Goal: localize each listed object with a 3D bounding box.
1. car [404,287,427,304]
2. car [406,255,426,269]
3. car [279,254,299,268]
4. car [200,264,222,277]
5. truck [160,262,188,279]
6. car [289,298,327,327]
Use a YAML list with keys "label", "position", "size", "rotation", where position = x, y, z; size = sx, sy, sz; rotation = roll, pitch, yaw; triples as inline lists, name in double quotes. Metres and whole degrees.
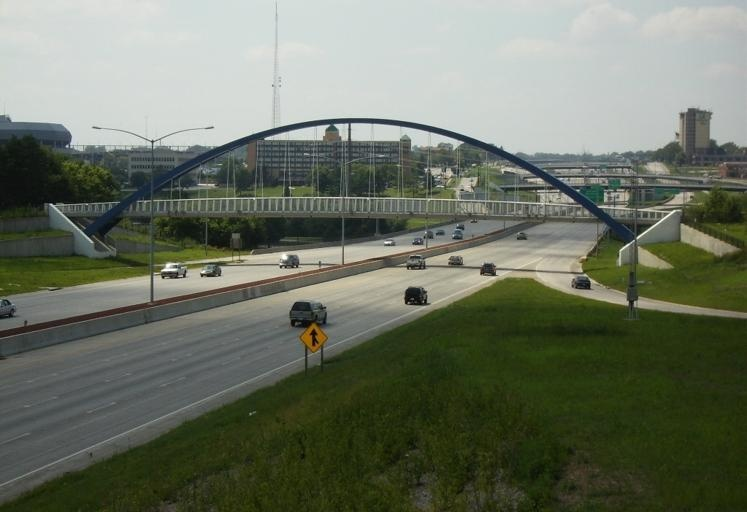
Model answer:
- label: "car"
  position: [3.509, 3.077, 63.045]
  size: [1.021, 0.893, 1.807]
  rotation: [1, 8, 16]
- label: "car"
  position: [5.073, 0.671, 93.272]
  size: [1.183, 1.035, 2.238]
  rotation: [1, 6, 13]
- label: "car"
  position: [-9.557, 0.522, 94.092]
  size: [1.247, 1.184, 2.378]
  rotation: [1, 8, 9]
- label: "car"
  position: [-17.009, 1.520, 84.433]
  size: [1.179, 0.956, 2.074]
  rotation: [-1, -5, 6]
- label: "truck"
  position: [-20.495, 1.564, 83.232]
  size: [1.705, 1.248, 2.891]
  rotation: [-1, -4, 7]
- label: "car"
  position: [-4.248, 3.776, 53.916]
  size: [1.368, 1.203, 2.418]
  rotation: [1, 9, 19]
